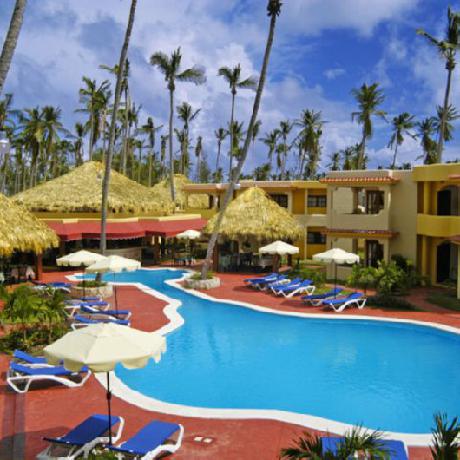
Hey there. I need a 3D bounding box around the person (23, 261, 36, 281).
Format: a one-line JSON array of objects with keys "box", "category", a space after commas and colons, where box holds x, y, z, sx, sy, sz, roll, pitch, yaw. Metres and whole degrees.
[{"box": [-12.773, 2.632, 28.113, 0.929, 1.232, 0.906, -2, 0, -37], "category": "person"}]

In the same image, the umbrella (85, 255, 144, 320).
[{"box": [-4.931, 2.348, 19.180, 2.304, 3.578, 2.653, -1, 15, -12], "category": "umbrella"}]

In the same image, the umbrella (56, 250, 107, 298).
[{"box": [-6.731, 2.390, 20.135, 1.991, 3.165, 2.412, 0, 1, 4], "category": "umbrella"}]

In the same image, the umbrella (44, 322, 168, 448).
[{"box": [-2.320, 2.129, 8.049, 1.799, 2.549, 1.925, -2, -1, 36], "category": "umbrella"}]

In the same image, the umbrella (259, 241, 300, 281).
[{"box": [3.058, 1.615, 26.162, 2.233, 2.258, 2.458, -4, 3, -24], "category": "umbrella"}]

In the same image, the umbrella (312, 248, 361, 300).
[{"box": [5.063, 2.016, 20.736, 1.912, 2.720, 2.069, 15, -19, -23], "category": "umbrella"}]
